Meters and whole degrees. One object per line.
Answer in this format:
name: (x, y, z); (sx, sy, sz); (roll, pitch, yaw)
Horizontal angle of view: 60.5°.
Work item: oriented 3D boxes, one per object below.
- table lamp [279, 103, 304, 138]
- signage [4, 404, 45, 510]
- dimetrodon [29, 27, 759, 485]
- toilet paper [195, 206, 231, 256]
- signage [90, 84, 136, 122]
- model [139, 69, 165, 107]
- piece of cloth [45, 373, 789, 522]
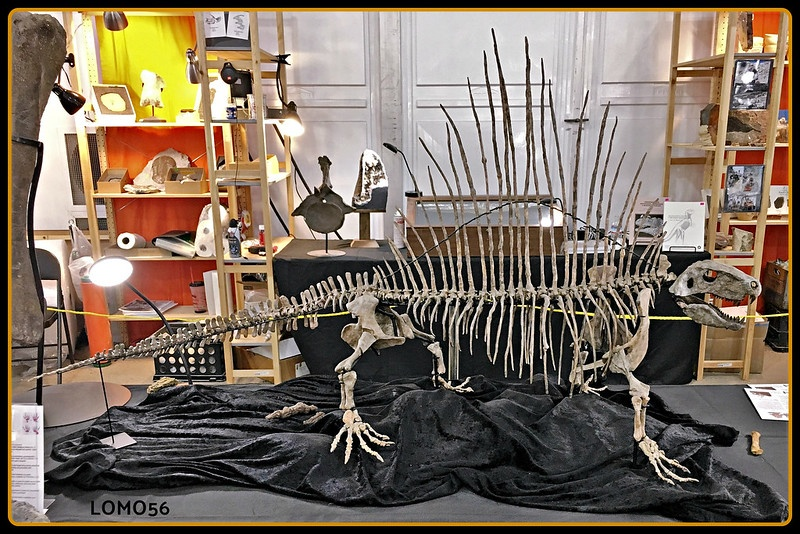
table lamp: (-1.015, -1.455, 6.501); (0.213, 0.238, 0.152); (1, 1, -15)
signage: (-2.464, 1.279, 4.550); (0.220, 0.726, 0.077); (-1, 8, 2)
dimetrodon: (0.022, -0.006, 5.413); (4.281, 2.568, 1.744); (3, -13, 1)
toilet paper: (-1.846, -0.332, 6.778); (0.372, 0.499, 0.194); (-1, -1, 8)
signage: (-2.763, -1.575, 6.621); (0.391, 0.375, 0.243); (-5, -3, -17)
model: (-2.441, -1.745, 6.839); (0.264, 0.357, 0.289); (2, -16, -25)
piece of cloth: (0.177, 1.359, 4.924); (5.532, 0.340, 1.698); (0, 17, -1)
